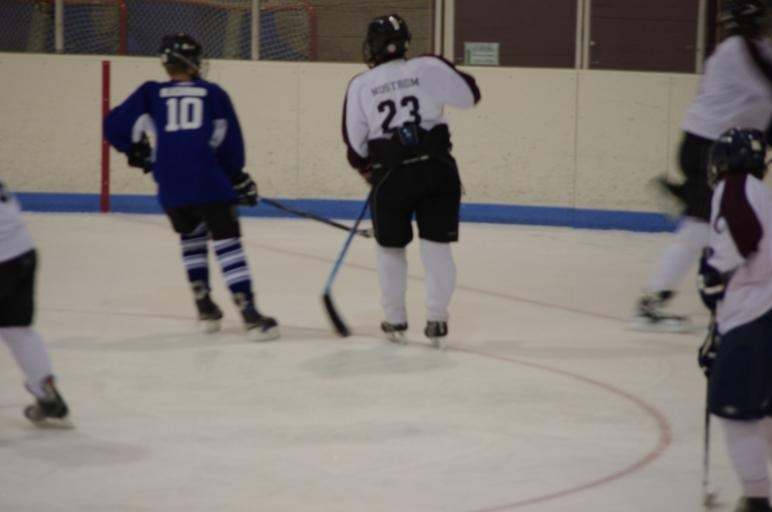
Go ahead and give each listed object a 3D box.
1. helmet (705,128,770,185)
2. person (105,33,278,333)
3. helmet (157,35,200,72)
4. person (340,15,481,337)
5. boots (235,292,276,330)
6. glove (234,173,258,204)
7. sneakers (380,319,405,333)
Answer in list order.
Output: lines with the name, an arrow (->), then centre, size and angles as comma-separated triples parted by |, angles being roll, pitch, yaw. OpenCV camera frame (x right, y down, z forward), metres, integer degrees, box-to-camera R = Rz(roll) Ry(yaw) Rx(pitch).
helmet -> 1.666, -0.485, 5.325 | 0.212, 0.279, 0.106 | 5, -5, 17
person -> -1.122, -0.463, 6.932 | 1.142, 1.740, 0.560 | 11, 22, 31
helmet -> -1.295, -1.270, 7.012 | 0.248, 0.212, 0.201 | -9, 10, -9
person -> 0.103, -0.346, 6.634 | 0.781, 1.611, 0.602 | 2, 19, 7
boots -> -0.798, 0.335, 6.746 | 0.139, 0.196, 0.292 | -17, 24, -39
glove -> -0.895, -0.405, 7.110 | 0.096, 0.245, 0.105 | -6, 47, -7
sneakers -> 0.039, 0.414, 6.661 | 0.056, 0.061, 0.152 | -6, 8, -44
